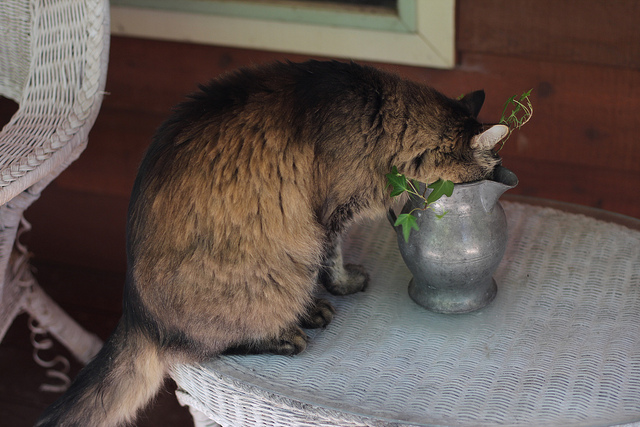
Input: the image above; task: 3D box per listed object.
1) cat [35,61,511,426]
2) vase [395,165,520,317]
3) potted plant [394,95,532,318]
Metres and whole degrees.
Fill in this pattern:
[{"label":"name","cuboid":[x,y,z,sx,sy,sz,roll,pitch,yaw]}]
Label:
[{"label":"cat","cuboid":[-0.152,0.072,1.877,1.242,0.882,0.420,-8,29,-13]},{"label":"vase","cuboid":[0.373,0.063,1.967,0.416,0.398,0.323,-12,21,15]},{"label":"potted plant","cuboid":[0.330,-0.022,1.874,0.412,0.521,0.300,0,20,10]}]
